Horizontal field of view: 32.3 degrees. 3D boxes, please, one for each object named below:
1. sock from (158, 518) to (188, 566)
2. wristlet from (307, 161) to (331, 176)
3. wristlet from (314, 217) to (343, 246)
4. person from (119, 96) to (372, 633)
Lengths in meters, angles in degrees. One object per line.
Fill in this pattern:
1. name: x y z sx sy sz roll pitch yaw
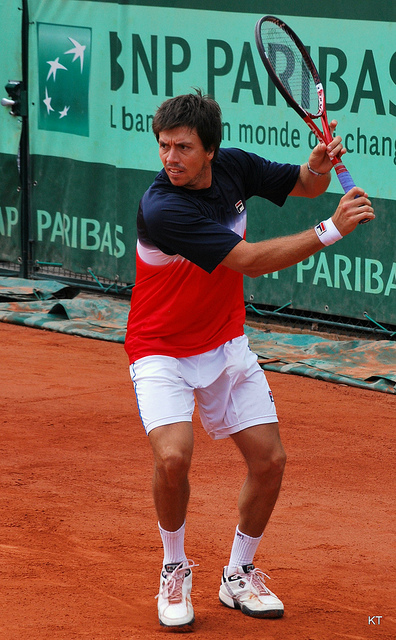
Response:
1. sock: -0.084 0.771 2.280 0.079 0.177 0.060 -7 12 -11
2. wristlet: 0.487 -0.610 2.771 0.095 0.050 0.129 4 14 8
3. wristlet: 0.395 -0.266 2.085 0.063 0.069 0.089 -28 6 1
4. person: 0.154 0.149 2.473 0.813 1.804 0.836 -1 14 -11
